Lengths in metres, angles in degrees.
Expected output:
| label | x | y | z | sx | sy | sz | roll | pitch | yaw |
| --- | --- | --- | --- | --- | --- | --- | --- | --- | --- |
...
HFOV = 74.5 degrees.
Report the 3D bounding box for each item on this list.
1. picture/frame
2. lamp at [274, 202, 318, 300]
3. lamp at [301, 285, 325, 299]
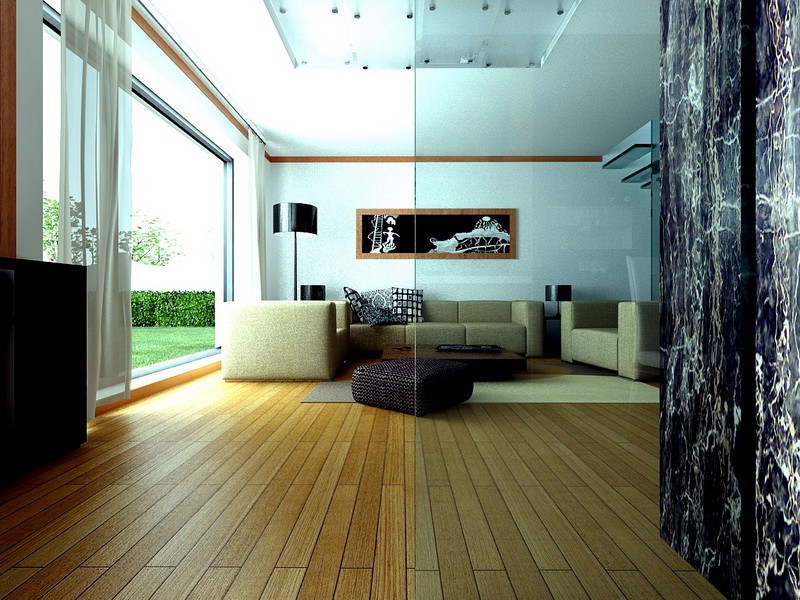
| label | x | y | z | sx | sy | sz | roll | pitch | yaw |
| --- | --- | --- | --- | --- | --- | --- | --- | --- | --- |
| picture/frame | 0.073 | -0.133 | 1.055 | 0.315 | 0.110 | 0.003 | 0 | -9 | 1 |
| lamp | -1.115 | -0.495 | 5.667 | 0.412 | 0.990 | 1.217 | -1 | 4 | -10 |
| lamp | -0.958 | -0.077 | 5.776 | 0.177 | 0.112 | 0.180 | 0 | -3 | 16 |
